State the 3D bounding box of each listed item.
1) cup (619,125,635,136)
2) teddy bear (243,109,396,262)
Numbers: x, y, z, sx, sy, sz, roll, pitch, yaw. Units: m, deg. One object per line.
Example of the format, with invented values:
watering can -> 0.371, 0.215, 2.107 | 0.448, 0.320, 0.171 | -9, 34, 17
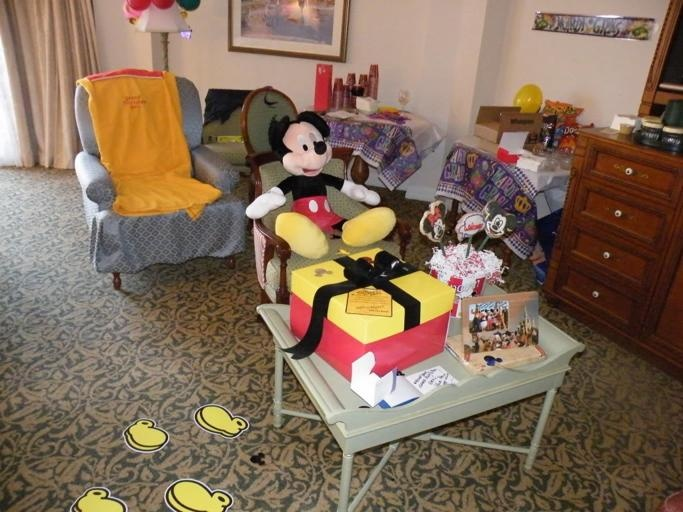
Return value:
cup -> 1.921, -0.849, 3.322 | 0.101, 0.065, 0.052 | -3, 29, -11
teddy bear -> -0.125, -0.491, 3.296 | 0.973, 0.792, 0.900 | -17, 31, -33
